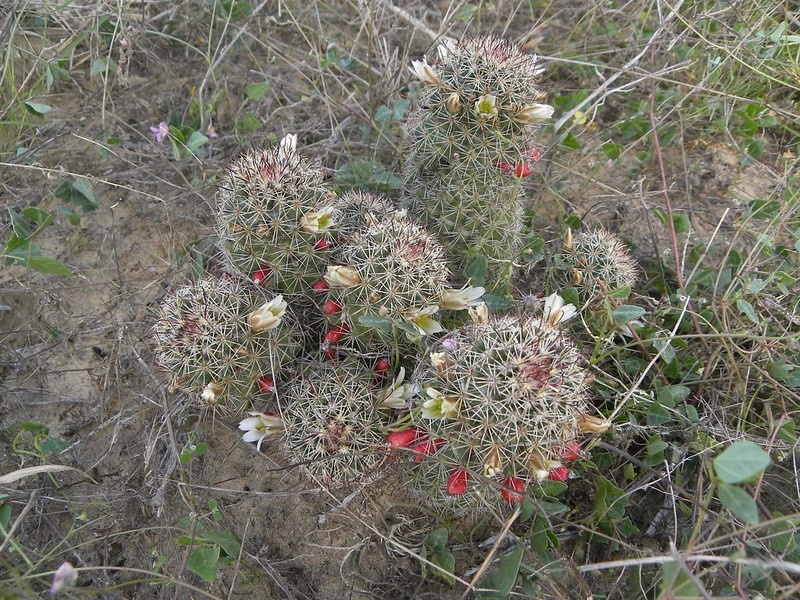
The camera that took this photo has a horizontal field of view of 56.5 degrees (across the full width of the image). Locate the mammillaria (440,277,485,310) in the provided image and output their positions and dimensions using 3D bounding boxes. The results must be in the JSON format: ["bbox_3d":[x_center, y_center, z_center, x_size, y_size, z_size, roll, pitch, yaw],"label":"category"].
[{"bbox_3d":[0.315,-0.021,3.845,0.149,0.072,0.151,-1,64,10],"label":"mammillaria"}]

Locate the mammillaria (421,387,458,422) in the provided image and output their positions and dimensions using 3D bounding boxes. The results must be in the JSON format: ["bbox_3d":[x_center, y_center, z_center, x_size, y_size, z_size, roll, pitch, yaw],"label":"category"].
[{"bbox_3d":[0.194,0.504,3.552,0.171,0.096,0.139,10,81,1],"label":"mammillaria"}]

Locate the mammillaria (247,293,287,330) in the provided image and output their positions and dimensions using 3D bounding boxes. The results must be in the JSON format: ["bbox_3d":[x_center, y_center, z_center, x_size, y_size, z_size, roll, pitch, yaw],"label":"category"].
[{"bbox_3d":[-0.685,0.071,3.839,0.136,0.139,0.234,11,93,-35],"label":"mammillaria"}]

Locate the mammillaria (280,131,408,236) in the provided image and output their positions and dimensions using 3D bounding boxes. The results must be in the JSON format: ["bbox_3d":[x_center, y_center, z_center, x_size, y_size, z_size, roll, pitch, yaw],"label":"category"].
[{"bbox_3d":[-0.290,-0.500,4.107,0.583,0.373,0.660,27,45,29],"label":"mammillaria"}]

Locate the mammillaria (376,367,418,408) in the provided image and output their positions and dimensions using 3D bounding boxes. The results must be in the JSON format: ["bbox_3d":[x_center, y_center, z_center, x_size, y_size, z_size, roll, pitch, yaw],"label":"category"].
[{"bbox_3d":[-0.013,0.480,3.807,0.188,0.082,0.214,-3,77,10],"label":"mammillaria"}]

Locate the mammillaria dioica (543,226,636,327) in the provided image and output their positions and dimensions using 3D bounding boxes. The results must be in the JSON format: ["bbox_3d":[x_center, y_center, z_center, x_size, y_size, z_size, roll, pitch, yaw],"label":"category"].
[{"bbox_3d":[1.107,-0.168,4.228,0.466,0.513,0.481,0,24,-29],"label":"mammillaria dioica"}]

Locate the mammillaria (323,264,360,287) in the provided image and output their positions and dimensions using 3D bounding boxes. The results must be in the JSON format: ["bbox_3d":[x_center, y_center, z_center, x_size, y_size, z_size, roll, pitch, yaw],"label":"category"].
[{"bbox_3d":[-0.299,-0.114,3.745,0.129,0.076,0.127,3,92,3],"label":"mammillaria"}]
